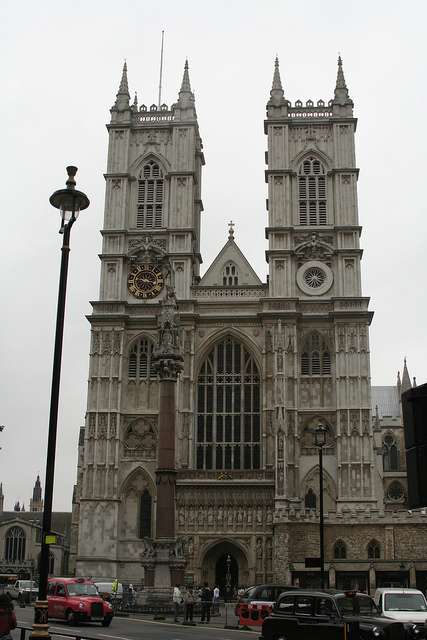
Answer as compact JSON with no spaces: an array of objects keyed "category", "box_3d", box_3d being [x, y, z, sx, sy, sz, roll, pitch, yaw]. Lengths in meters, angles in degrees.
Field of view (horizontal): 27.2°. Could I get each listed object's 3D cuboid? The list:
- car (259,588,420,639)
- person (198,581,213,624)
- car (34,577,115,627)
[{"category":"car","box_3d":[2.840,6.922,20.564,1.685,1.311,2.877,21,-32,-41]},{"category":"person","box_3d":[-0.285,10.915,34.164,0.508,1.573,0.530,9,-22,-16]},{"category":"car","box_3d":[-4.367,9.251,29.149,1.624,1.426,3.300,7,-17,-21]}]
